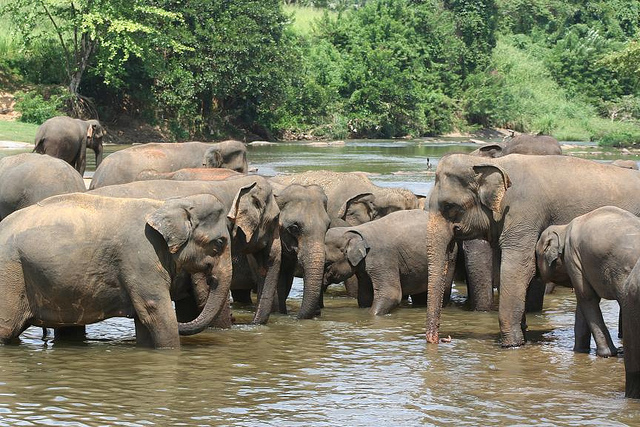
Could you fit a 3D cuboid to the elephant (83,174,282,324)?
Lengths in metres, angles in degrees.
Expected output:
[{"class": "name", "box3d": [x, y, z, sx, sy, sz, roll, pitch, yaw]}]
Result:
[{"class": "elephant", "box3d": [-1.767, 0.456, 12.304, 2.625, 1.819, 1.092, 4, 1, -30]}]

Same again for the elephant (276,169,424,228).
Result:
[{"class": "elephant", "box3d": [0.414, -0.273, 16.098, 2.289, 1.098, 0.882, 0, 3, 35]}]

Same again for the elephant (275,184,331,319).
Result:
[{"class": "elephant", "box3d": [-0.268, 0.504, 13.251, 0.722, 1.802, 0.859, 4, 13, 9]}]

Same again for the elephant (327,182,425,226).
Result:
[{"class": "elephant", "box3d": [0.731, -0.147, 15.590, 1.464, 0.734, 0.723, 3, 7, 14]}]

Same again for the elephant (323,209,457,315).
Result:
[{"class": "elephant", "box3d": [0.699, 0.830, 13.866, 2.830, 1.391, 0.892, -3, -5, -37]}]

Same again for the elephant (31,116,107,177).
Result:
[{"class": "elephant", "box3d": [-5.378, -1.357, 20.990, 0.777, 1.303, 2.319, 8, 6, 18]}]
